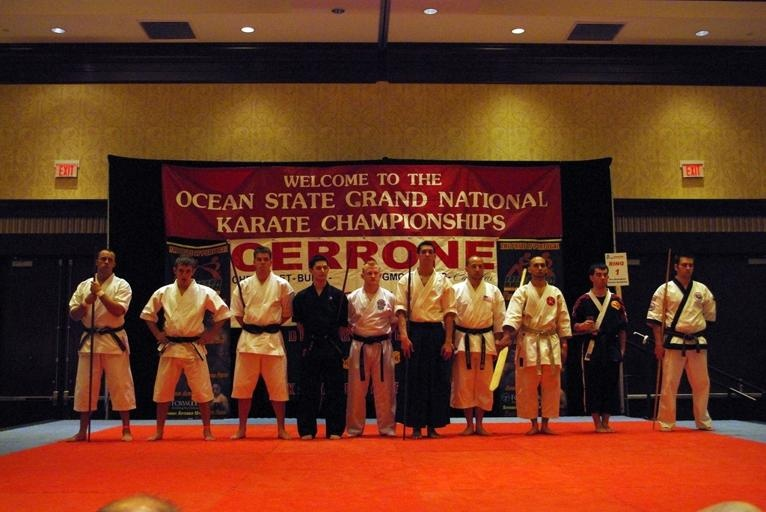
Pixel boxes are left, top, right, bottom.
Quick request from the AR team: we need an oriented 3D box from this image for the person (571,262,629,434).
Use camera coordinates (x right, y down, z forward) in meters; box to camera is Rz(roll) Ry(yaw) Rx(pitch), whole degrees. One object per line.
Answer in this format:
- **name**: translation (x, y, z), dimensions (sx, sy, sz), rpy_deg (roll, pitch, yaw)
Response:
- **person**: translation (2.714, 1.130, 9.636), dimensions (0.573, 2.053, 0.585), rpy_deg (0, 0, 34)

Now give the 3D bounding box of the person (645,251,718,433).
- **person**: translation (3.880, 1.114, 9.806), dimensions (0.885, 2.228, 0.713), rpy_deg (0, 0, 3)

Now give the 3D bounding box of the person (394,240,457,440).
- **person**: translation (0.518, 0.994, 9.268), dimensions (0.721, 2.323, 0.458), rpy_deg (0, 0, 5)

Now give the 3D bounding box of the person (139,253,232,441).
- **person**: translation (-2.478, 1.114, 9.571), dimensions (1.004, 2.221, 1.297), rpy_deg (0, 0, -15)

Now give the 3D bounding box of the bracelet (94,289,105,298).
- **bracelet**: translation (-3.341, 0.445, 9.064), dimensions (0.079, 0.051, 0.091), rpy_deg (2, -25, -6)

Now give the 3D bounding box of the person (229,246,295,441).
- **person**: translation (-1.468, 1.043, 9.300), dimensions (0.762, 2.293, 0.551), rpy_deg (0, 0, -8)

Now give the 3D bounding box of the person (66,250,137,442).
- **person**: translation (-3.394, 1.058, 9.230), dimensions (0.732, 2.254, 0.631), rpy_deg (0, 0, -16)
